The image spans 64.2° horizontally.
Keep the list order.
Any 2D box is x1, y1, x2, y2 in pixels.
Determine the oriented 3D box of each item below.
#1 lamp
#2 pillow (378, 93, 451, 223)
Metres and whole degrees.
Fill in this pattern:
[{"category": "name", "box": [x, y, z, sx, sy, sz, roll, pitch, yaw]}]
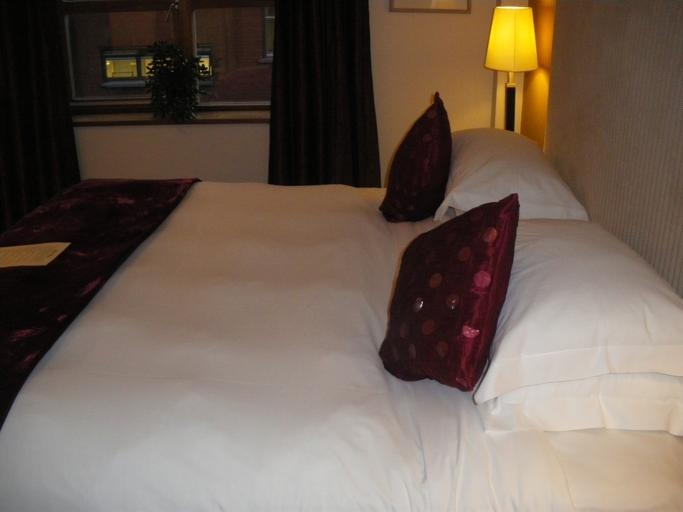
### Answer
[{"category": "lamp", "box": [0.975, -1.091, 3.120, 0.273, 0.716, 0.654, 4, 17, 17]}, {"category": "pillow", "box": [0.341, -0.452, 2.347, 0.249, 0.563, 0.421, 12, 24, 23]}]
